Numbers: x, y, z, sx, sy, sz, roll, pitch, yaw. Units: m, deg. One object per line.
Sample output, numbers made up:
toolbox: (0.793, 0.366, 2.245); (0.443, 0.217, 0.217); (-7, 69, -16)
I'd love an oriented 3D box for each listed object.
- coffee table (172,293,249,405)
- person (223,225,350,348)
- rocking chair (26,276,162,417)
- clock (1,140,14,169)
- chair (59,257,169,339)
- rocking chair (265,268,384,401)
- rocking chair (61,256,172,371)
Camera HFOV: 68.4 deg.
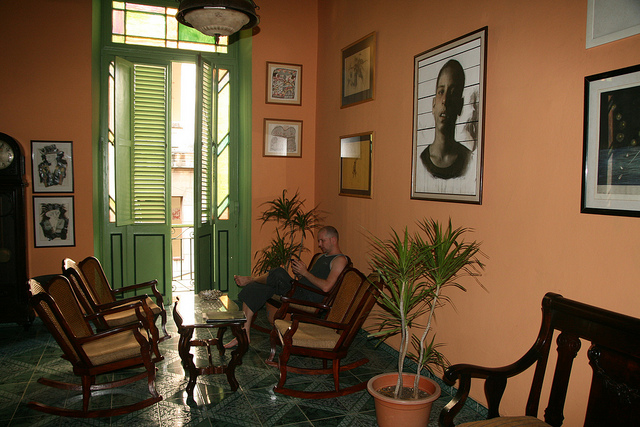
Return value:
coffee table: (-1.131, 1.219, 4.773); (0.649, 0.680, 1.391); (-3, 12, -18)
person: (-0.379, 0.734, 5.157); (1.246, 1.366, 0.726); (10, 3, -22)
rocking chair: (-2.053, 1.094, 4.044); (1.112, 1.097, 0.919); (11, 0, 24)
clock: (-3.567, -0.670, 5.370); (0.129, 0.304, 0.101); (-5, 12, -25)
chair: (-2.059, 0.900, 4.866); (0.860, 0.805, 0.591); (3, 13, -11)
rocking chair: (0.071, 1.153, 4.857); (1.245, 1.564, 0.933); (6, -2, -16)
rocking chair: (-2.172, 0.858, 4.900); (1.091, 1.308, 1.158); (1, 6, -10)
